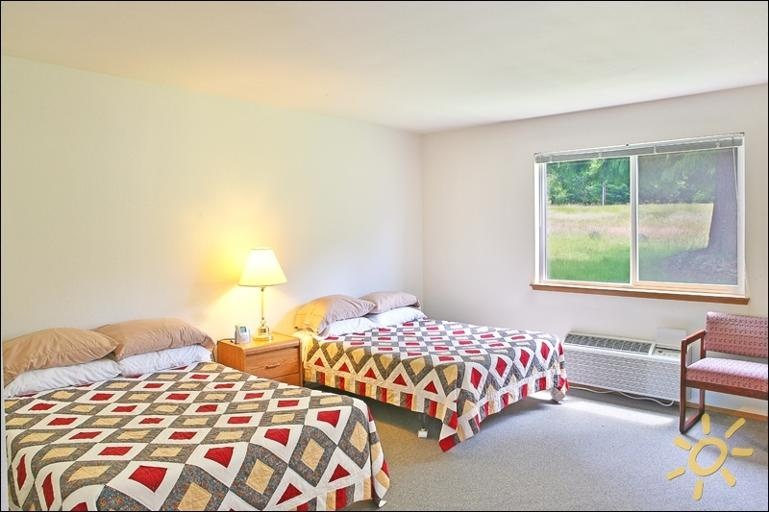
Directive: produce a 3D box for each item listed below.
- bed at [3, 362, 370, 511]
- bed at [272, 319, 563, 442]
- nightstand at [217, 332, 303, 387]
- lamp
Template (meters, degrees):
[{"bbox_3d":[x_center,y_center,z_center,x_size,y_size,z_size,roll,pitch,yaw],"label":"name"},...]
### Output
[{"bbox_3d":[-1.344,1.149,3.196,1.257,0.319,1.282,-2,-3,38],"label":"bed"},{"bbox_3d":[0.236,0.992,4.538,1.316,0.381,1.350,0,1,43],"label":"bed"},{"bbox_3d":[-1.193,0.914,4.818,0.476,0.616,0.686,4,6,42],"label":"nightstand"},{"bbox_3d":[-1.178,0.358,4.869,0.424,0.862,0.447,-6,13,-22],"label":"lamp"}]
